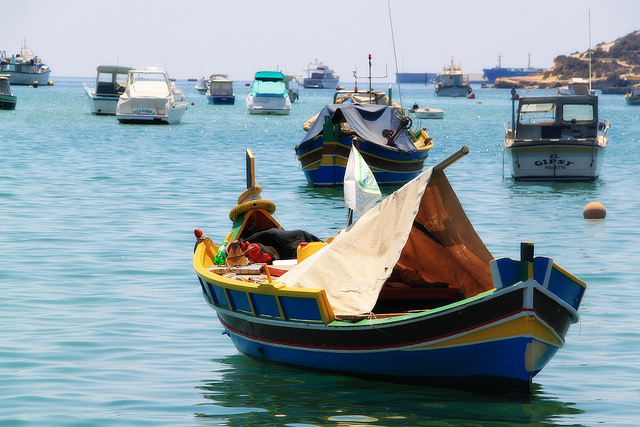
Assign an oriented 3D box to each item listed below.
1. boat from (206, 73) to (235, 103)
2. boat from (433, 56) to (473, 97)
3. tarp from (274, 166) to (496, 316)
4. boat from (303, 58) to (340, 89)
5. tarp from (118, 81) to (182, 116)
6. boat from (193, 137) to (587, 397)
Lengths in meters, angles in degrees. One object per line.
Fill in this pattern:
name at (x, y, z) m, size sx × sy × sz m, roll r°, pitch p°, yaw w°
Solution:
boat at (-8.948, -10.980, 106.346) m, size 2.309 × 2.188 × 3.264 m, roll -1°, pitch 10°, yaw -4°
boat at (16.070, -16.592, 145.334) m, size 3.847 × 5.419 × 25.243 m, roll 1°, pitch 9°, yaw 6°
tarp at (1.635, 0.414, 30.798) m, size 6.701 × 2.689 × 4.799 m, roll -17°, pitch 7°, yaw -39°
boat at (0.144, -20.537, 177.245) m, size 4.292 × 3.753 × 4.537 m, roll -3°, pitch 11°, yaw -15°
tarp at (-10.050, -6.614, 68.006) m, size 3.023 × 1.920 × 1.407 m, roll -2°, pitch 11°, yaw -11°
boat at (1.502, 1.238, 31.276) m, size 7.388 × 4.698 × 11.425 m, roll -9°, pitch 11°, yaw -41°
